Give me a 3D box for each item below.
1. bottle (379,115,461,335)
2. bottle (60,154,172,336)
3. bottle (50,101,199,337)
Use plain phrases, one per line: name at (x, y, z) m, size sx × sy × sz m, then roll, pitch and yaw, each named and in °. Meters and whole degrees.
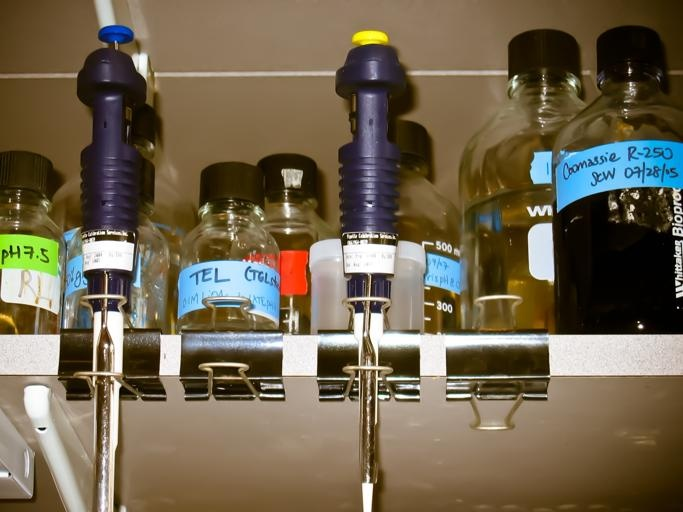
bottle at (0.106, -0.041, 1.149) m, size 0.080 × 0.272 × 0.123 m, roll -2°, pitch -5°, yaw 7°
bottle at (-0.259, -0.018, 1.065) m, size 0.125 × 0.213 × 0.290 m, roll 0°, pitch -5°, yaw -11°
bottle at (-0.247, -0.034, 1.074) m, size 0.148 × 0.368 × 0.152 m, roll -2°, pitch -28°, yaw -1°
